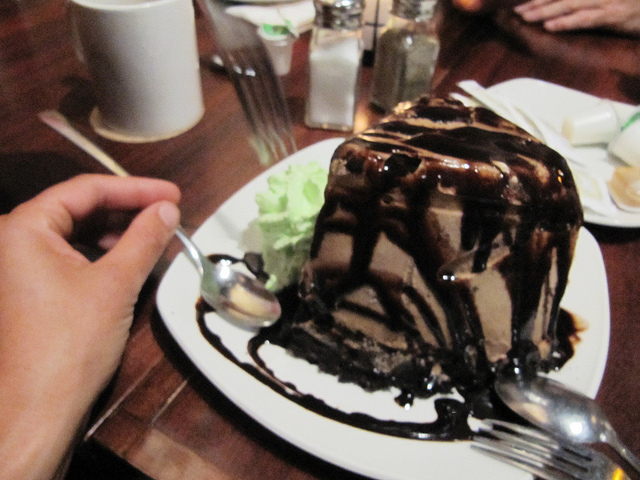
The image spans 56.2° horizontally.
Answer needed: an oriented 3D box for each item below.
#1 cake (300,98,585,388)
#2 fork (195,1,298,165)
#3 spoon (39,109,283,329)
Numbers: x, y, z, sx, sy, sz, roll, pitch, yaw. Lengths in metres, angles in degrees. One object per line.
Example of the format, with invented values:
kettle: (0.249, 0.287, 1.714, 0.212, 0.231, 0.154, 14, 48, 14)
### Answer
cake: (0.313, -0.009, 1.461, 0.630, 0.458, 0.622, 9, 16, 26)
fork: (-0.217, -0.442, 1.735, 0.071, 0.069, 0.646, -26, 65, 2)
spoon: (-0.381, -0.040, 1.375, 0.625, 0.071, 0.115, 47, 40, -3)
